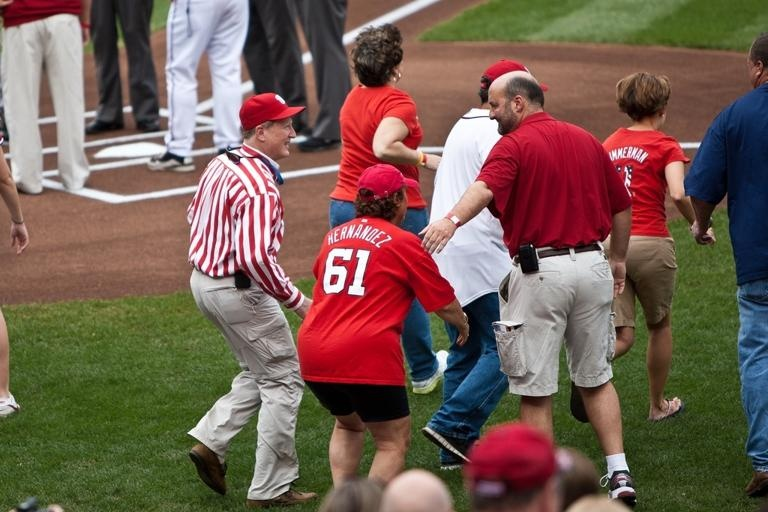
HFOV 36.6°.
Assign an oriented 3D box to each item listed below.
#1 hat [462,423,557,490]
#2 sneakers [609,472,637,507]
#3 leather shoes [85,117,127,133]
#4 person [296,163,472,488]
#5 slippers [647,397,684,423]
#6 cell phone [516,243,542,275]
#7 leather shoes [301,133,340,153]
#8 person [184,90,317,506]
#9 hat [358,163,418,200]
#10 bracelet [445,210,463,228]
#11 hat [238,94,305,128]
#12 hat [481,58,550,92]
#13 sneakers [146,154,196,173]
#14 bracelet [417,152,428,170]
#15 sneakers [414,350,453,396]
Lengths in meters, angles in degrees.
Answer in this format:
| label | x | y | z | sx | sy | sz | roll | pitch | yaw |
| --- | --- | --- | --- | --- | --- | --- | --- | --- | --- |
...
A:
| label | x | y | z | sx | sy | sz | roll | pitch | yaw |
| --- | --- | --- | --- | --- | --- | --- | --- | --- | --- |
| hat | 0.786 | 1.089 | 6.727 | 0.327 | 0.161 | 0.443 | 4 | 32 | 16 |
| sneakers | 1.760 | 1.720 | 8.612 | 0.132 | 0.171 | 0.358 | -3 | 1 | 4 |
| leather shoes | -2.797 | -1.286 | 11.576 | 0.438 | 0.182 | 0.161 | 1 | 19 | 21 |
| person | -0.094 | 0.524 | 8.685 | 1.018 | 2.302 | 0.729 | -12 | 15 | -33 |
| slippers | 2.372 | 1.253 | 9.708 | 0.270 | 0.103 | 0.157 | -24 | 29 | -30 |
| cell phone | 1.068 | 0.021 | 8.693 | 0.178 | 0.211 | 0.095 | 0 | 13 | 18 |
| leather shoes | -0.863 | -1.448 | 14.890 | 0.587 | 0.243 | 0.195 | -6 | 23 | -7 |
| person | -1.107 | 0.345 | 9.090 | 1.049 | 3.091 | 0.897 | -5 | 12 | -4 |
| hat | 0.020 | -0.571 | 8.788 | 0.461 | 0.221 | 0.311 | -14 | 4 | -31 |
| bracelet | 0.506 | -0.278 | 8.585 | 0.076 | 0.108 | 0.105 | -44 | 28 | -2 |
| hat | -0.898 | -1.183 | 9.258 | 0.581 | 0.226 | 0.385 | -8 | 16 | 10 |
| hat | 1.039 | -1.483 | 9.362 | 0.558 | 0.338 | 0.372 | 3 | 6 | -10 |
| sneakers | -2.265 | -0.978 | 12.295 | 0.354 | 0.164 | 0.163 | 3 | 14 | -4 |
| bracelet | 0.312 | -0.802 | 9.799 | 0.089 | 0.113 | 0.103 | 10 | 12 | 28 |
| sneakers | 0.467 | 1.038 | 10.358 | 0.182 | 0.230 | 0.514 | 14 | 48 | 35 |
